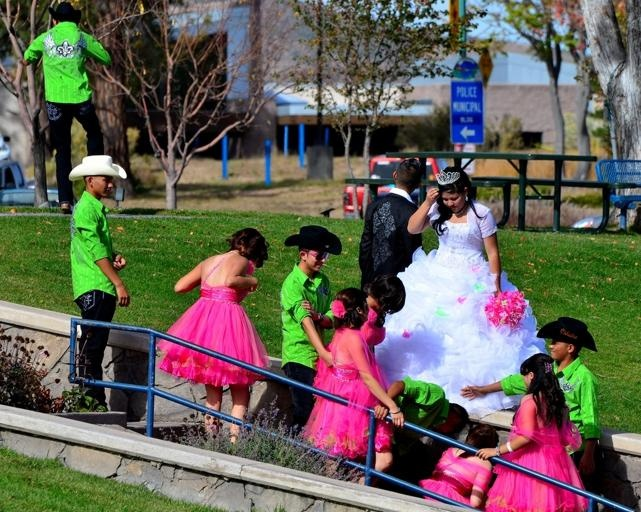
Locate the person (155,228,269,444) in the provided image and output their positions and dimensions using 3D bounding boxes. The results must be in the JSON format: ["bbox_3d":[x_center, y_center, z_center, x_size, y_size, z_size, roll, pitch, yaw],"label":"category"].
[{"bbox_3d":[-1.280,0.916,18.923,1.241,2.523,0.559,0,3,-3],"label":"person"}]

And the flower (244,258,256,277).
[{"bbox_3d":[-0.913,0.134,19.005,0.060,0.195,0.179,7,-16,18],"label":"flower"}]

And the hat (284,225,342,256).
[{"bbox_3d":[-0.066,-0.217,18.959,0.452,0.210,0.419,5,9,6],"label":"hat"}]

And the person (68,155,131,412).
[{"bbox_3d":[-2.803,0.344,19.215,0.685,3.220,0.784,0,3,-9],"label":"person"}]

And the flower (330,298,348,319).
[{"bbox_3d":[0.213,0.648,18.607,0.188,0.238,0.093,9,0,8],"label":"flower"}]

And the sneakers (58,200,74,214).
[{"bbox_3d":[-3.847,-0.733,22.903,0.188,0.098,0.217,-1,-7,-32],"label":"sneakers"}]

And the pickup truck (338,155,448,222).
[{"bbox_3d":[1.285,-1.722,33.342,1.144,1.136,2.309,2,18,17],"label":"pickup truck"}]

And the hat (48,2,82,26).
[{"bbox_3d":[-3.841,-3.681,22.905,0.429,0.369,0.740,0,4,-10],"label":"hat"}]

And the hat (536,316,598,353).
[{"bbox_3d":[3.057,0.942,18.757,0.529,0.196,0.438,12,19,-20],"label":"hat"}]

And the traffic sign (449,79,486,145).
[{"bbox_3d":[2.546,-2.554,26.728,0.565,1.105,0.394,1,3,1],"label":"traffic sign"}]

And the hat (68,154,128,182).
[{"bbox_3d":[-2.874,-1.127,19.302,0.474,0.239,0.417,-1,5,3],"label":"hat"}]

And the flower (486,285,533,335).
[{"bbox_3d":[2.292,0.647,19.121,0.463,0.474,0.455,-38,21,-18],"label":"flower"}]
